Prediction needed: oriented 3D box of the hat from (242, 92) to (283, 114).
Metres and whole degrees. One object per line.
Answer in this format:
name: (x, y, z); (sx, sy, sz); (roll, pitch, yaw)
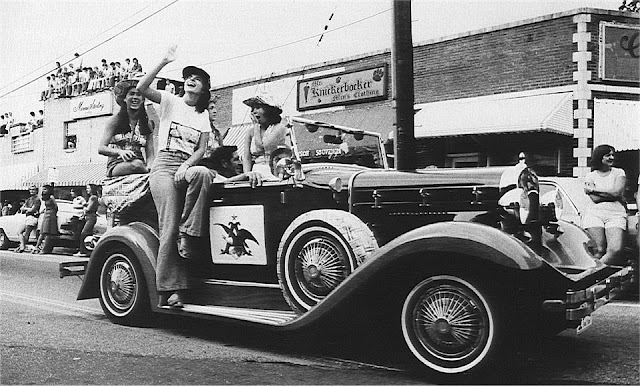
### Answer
hat: (-0.711, -1.138, 7.540); (0.359, 0.133, 0.259); (15, -13, -9)

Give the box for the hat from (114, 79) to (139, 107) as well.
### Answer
hat: (-2.444, -1.280, 7.502); (0.259, 0.331, 0.182); (6, 2, -4)

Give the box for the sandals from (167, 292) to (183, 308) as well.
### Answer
sandals: (-1.843, 1.383, 7.577); (0.185, 0.174, 0.147); (6, 15, 32)

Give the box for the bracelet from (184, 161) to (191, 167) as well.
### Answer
bracelet: (-1.684, -0.363, 7.575); (0.094, 0.053, 0.059); (10, -18, -11)

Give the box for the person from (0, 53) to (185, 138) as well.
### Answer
person: (-2.529, -1.158, 7.313); (1.671, 0.374, 1.100); (-22, 2, 0)
